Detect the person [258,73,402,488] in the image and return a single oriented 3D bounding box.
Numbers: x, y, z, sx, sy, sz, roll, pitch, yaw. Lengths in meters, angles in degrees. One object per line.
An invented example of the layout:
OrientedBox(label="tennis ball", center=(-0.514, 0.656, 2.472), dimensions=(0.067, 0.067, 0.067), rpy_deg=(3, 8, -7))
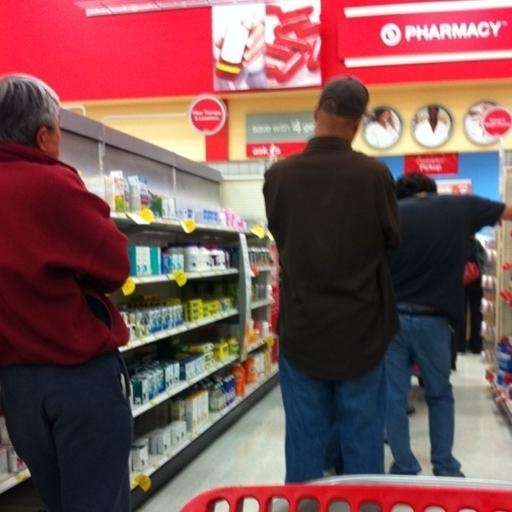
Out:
OrientedBox(label="person", center=(0.305, 0.199, 2.042), dimensions=(0.406, 1.663, 0.422), rpy_deg=(5, 19, 23))

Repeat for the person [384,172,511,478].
OrientedBox(label="person", center=(0.988, 0.371, 2.860), dimensions=(0.591, 1.685, 0.423), rpy_deg=(-3, 2, 13))
